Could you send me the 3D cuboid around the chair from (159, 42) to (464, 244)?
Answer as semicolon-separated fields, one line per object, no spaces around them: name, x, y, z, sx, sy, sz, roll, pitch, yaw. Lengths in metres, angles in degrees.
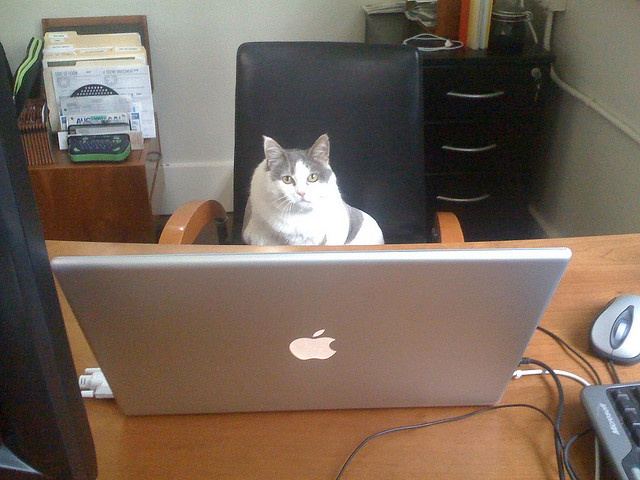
chair;-0.003;-0.287;1.623;0.498;0.673;0.567;-1;18;2

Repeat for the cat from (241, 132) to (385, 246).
cat;-0.026;-0.097;1.397;0.277;0.229;0.315;-2;-4;2
